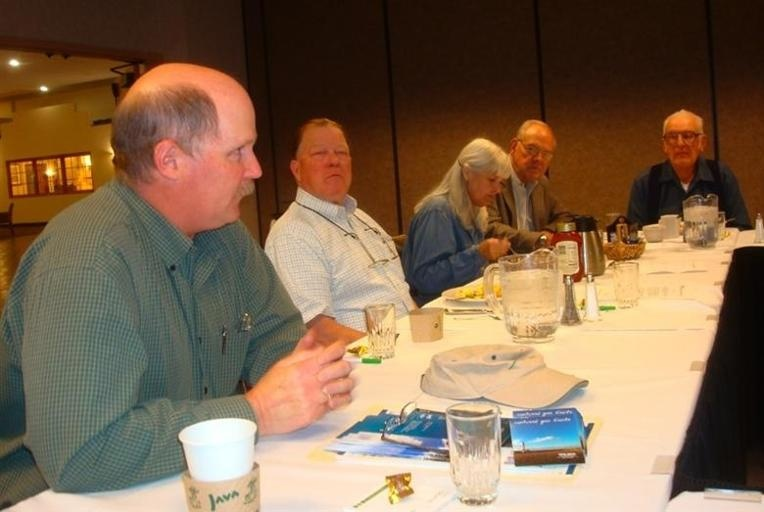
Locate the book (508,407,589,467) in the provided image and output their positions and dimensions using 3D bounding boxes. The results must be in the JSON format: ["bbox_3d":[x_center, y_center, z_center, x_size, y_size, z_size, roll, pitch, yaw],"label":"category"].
[{"bbox_3d":[0.307,0.345,1.091,0.115,0.110,0.029,0,-39,5],"label":"book"}]

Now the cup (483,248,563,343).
[{"bbox_3d":[0.418,0.123,1.846,0.282,0.297,0.220,-3,4,3],"label":"cup"}]

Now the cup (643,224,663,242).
[{"bbox_3d":[1.721,-0.141,3.727,0.110,0.099,0.110,-2,-2,0],"label":"cup"}]

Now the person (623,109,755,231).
[{"bbox_3d":[2.533,-0.706,4.695,1.152,1.163,0.728,-2,-6,27],"label":"person"}]

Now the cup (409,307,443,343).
[{"bbox_3d":[0.140,0.219,1.861,0.088,0.079,0.108,0,-6,-16],"label":"cup"}]

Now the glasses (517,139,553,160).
[{"bbox_3d":[1.177,-0.805,4.434,0.245,0.155,0.161,-2,11,9],"label":"glasses"}]

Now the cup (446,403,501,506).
[{"bbox_3d":[0.162,0.345,1.016,0.090,0.149,0.084,-4,11,1],"label":"cup"}]
